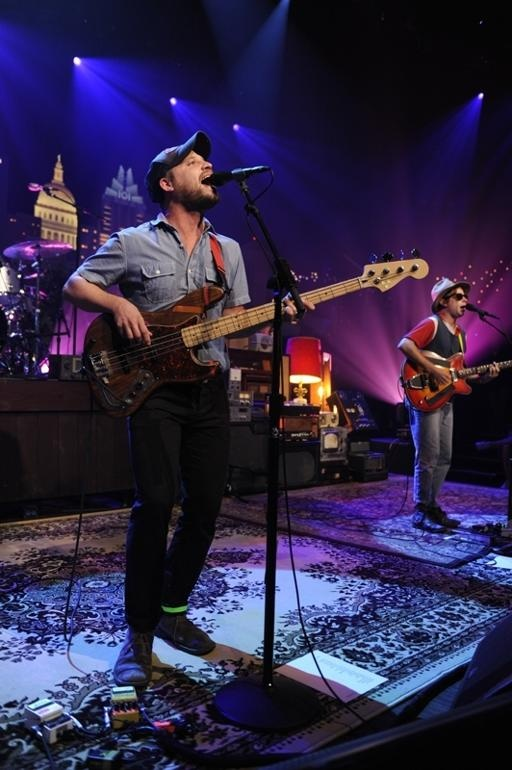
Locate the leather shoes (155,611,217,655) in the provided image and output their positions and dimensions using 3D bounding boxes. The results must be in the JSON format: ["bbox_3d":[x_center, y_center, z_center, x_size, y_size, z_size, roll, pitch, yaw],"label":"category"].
[{"bbox_3d":[-0.233,0.820,1.986,0.235,0.138,0.090,-2,-6,37],"label":"leather shoes"}]

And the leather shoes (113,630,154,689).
[{"bbox_3d":[-0.354,0.793,1.739,0.108,0.123,0.179,1,-2,-11],"label":"leather shoes"}]

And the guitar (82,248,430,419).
[{"bbox_3d":[0.216,-0.288,3.882,2.386,0.676,0.325,-20,3,-13],"label":"guitar"}]

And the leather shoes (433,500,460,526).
[{"bbox_3d":[1.213,0.844,3.894,0.158,0.146,0.178,1,-2,21],"label":"leather shoes"}]

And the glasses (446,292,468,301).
[{"bbox_3d":[1.332,-0.594,4.055,0.085,0.026,0.084,2,-8,-13],"label":"glasses"}]

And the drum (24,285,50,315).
[{"bbox_3d":[-2.434,-0.938,6.623,0.280,0.312,0.321,1,-2,-8],"label":"drum"}]
